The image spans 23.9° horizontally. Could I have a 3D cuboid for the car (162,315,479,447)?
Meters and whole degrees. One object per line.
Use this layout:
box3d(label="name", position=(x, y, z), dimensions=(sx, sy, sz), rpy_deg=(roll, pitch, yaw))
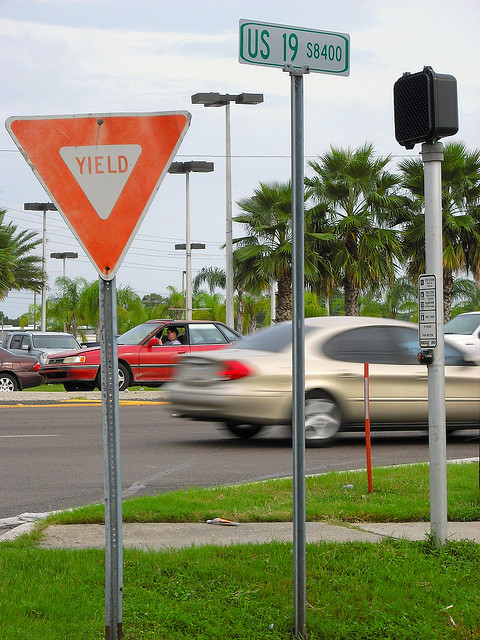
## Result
box3d(label="car", position=(0.877, 0.560, 11.702), dimensions=(3.035, 1.380, 1.464), rpy_deg=(-1, -1, -25))

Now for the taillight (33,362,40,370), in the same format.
box3d(label="taillight", position=(-3.798, 0.858, 21.159), dimensions=(0.107, 0.128, 0.471), rpy_deg=(-2, -1, -11))

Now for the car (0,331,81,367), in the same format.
box3d(label="car", position=(-4.556, 0.540, 24.840), dimensions=(0.971, 0.985, 1.764), rpy_deg=(1, -6, -42))
